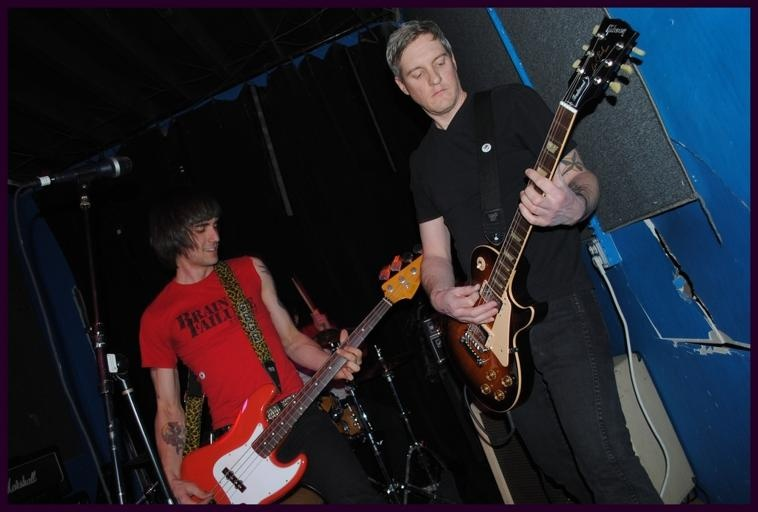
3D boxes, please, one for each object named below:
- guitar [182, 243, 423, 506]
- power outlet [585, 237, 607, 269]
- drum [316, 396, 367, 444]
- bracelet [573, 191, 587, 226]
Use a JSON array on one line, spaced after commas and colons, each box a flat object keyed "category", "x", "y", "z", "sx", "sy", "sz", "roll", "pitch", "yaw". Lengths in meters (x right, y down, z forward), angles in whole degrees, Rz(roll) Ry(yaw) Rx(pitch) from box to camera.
[{"category": "guitar", "x": -0.568, "y": 1.010, "z": 4.453, "sx": 2.588, "sy": 0.762, "sz": 0.372, "roll": -51, "pitch": -10, "yaw": -11}, {"category": "power outlet", "x": 1.515, "y": -0.016, "z": 3.875, "sx": 0.050, "sy": 0.176, "sz": 0.166, "roll": -13, "pitch": 4, "yaw": -22}, {"category": "drum", "x": -0.275, "y": 1.536, "z": 5.121, "sx": 0.159, "sy": 0.344, "sz": 0.499, "roll": -42, "pitch": -46, "yaw": 8}, {"category": "bracelet", "x": 1.108, "y": -0.272, "z": 3.023, "sx": 0.051, "sy": 0.143, "sz": 0.101, "roll": -4, "pitch": 3, "yaw": -1}]
